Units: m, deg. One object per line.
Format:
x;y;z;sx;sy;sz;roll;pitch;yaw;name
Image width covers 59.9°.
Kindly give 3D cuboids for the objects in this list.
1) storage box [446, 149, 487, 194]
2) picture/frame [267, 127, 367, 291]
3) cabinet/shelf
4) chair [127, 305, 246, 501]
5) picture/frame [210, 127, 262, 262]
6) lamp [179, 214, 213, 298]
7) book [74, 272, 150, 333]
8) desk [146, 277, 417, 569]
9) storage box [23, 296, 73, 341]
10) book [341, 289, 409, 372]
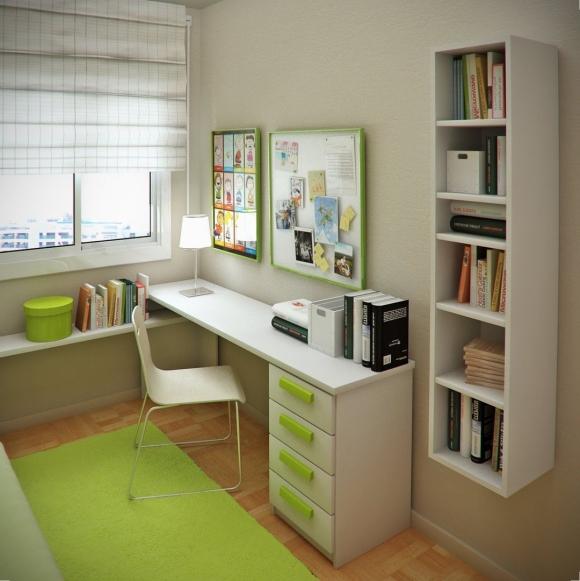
0.591;-0.394;1.679;0.060;0.138;0.123;-4;10;-26;storage box
0.154;-0.437;2.594;0.045;0.781;0.683;-7;13;-32;picture/frame
0.696;-0.054;1.742;0.358;1.463;0.414;-6;11;-35;cabinet/shelf
-0.561;0.568;2.706;0.537;0.922;0.530;-3;14;-19;chair
-0.335;-0.634;3.235;0.064;0.991;0.652;-5;12;-29;picture/frame
-0.622;-0.249;3.341;0.187;0.542;0.179;-7;24;-28;lamp
-1.136;0.085;3.236;0.286;0.462;0.390;3;4;-41;book
-0.089;0.372;2.804;0.515;0.971;1.724;-14;29;-27;desk
-1.465;0.158;3.077;0.256;0.239;0.266;18;20;42;storage box
0.349;0.105;2.215;0.237;0.392;0.336;-4;7;-33;book
